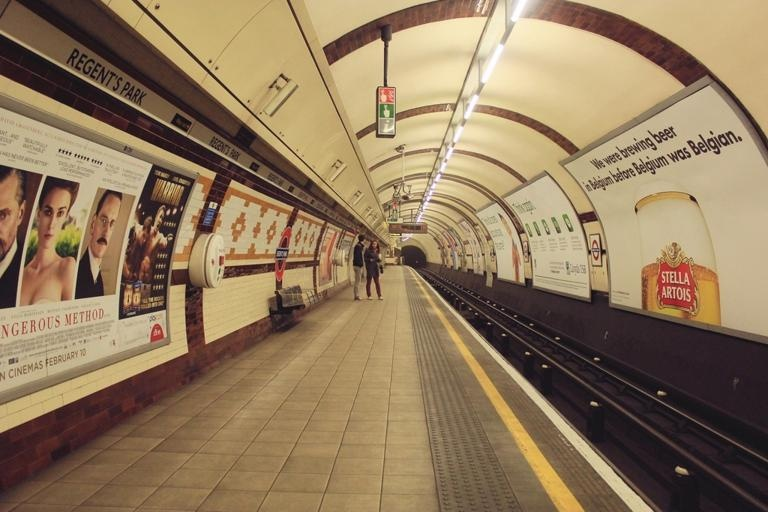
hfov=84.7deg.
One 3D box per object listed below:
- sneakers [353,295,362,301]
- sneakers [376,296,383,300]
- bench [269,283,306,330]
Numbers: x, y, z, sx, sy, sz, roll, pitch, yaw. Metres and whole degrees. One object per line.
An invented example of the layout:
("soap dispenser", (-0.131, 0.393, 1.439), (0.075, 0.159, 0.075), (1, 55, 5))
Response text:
("sneakers", (-0.956, 1.492, 15.379), (0.332, 0.239, 0.125), (-2, 5, -1))
("sneakers", (-0.160, 1.522, 15.584), (0.172, 0.190, 0.506), (-1, -6, -2))
("bench", (-2.258, 1.205, 10.053), (0.571, 1.194, 1.767), (0, 12, -4))
